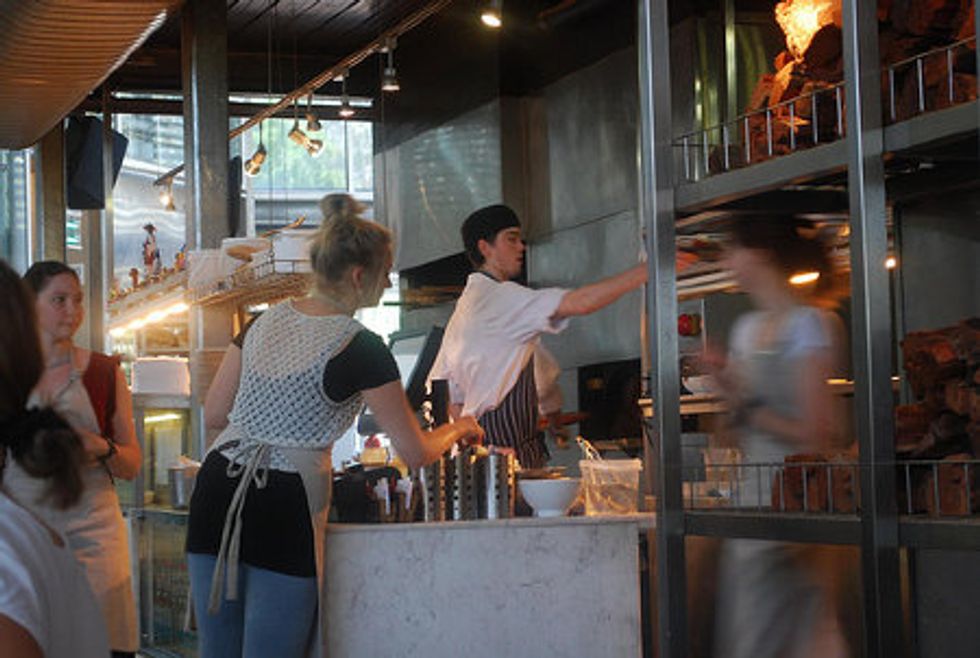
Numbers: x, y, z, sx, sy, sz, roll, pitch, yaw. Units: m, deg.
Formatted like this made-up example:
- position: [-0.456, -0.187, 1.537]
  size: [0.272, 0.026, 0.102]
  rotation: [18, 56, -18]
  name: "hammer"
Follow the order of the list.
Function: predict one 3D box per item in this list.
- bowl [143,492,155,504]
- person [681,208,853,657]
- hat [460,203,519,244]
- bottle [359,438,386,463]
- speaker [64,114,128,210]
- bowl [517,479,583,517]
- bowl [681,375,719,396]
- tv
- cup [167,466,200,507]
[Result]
- position: [-1.798, 0.889, 5.686]
  size: [0.074, 0.082, 0.056]
  rotation: [1, 0, -11]
  name: "bowl"
- position: [0.919, 0.318, 3.418]
  size: [0.401, 1.374, 0.506]
  rotation: [-2, -4, 19]
  name: "person"
- position: [-0.003, -0.432, 4.409]
  size: [0.188, 0.117, 0.151]
  rotation: [-12, 2, 24]
  name: "hat"
- position: [-0.478, 0.499, 4.365]
  size: [0.095, 0.122, 0.100]
  rotation: [1, -6, 0]
  name: "bottle"
- position: [-3.861, -1.683, 10.593]
  size: [0.521, 1.025, 0.658]
  rotation: [-6, 8, -39]
  name: "speaker"
- position: [0.211, 0.562, 3.698]
  size: [0.146, 0.089, 0.149]
  rotation: [-2, -7, 0]
  name: "bowl"
- position: [0.942, 0.269, 4.726]
  size: [0.080, 0.081, 0.110]
  rotation: [6, -7, -20]
  name: "bowl"
- position: [-0.468, 0.284, 5.507]
  size: [0.228, 0.608, 0.599]
  rotation: [9, -7, -24]
  name: "tv"
- position: [-1.428, 0.718, 5.008]
  size: [0.177, 0.212, 0.179]
  rotation: [-2, 1, 0]
  name: "cup"
